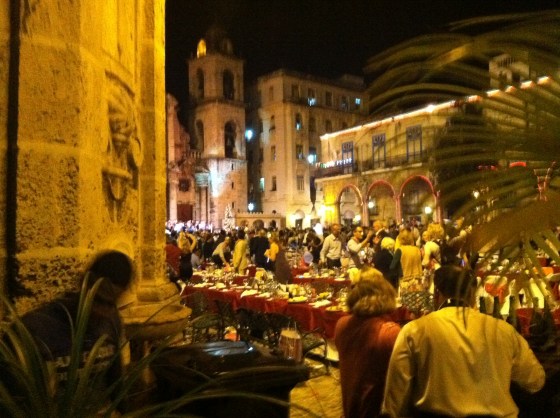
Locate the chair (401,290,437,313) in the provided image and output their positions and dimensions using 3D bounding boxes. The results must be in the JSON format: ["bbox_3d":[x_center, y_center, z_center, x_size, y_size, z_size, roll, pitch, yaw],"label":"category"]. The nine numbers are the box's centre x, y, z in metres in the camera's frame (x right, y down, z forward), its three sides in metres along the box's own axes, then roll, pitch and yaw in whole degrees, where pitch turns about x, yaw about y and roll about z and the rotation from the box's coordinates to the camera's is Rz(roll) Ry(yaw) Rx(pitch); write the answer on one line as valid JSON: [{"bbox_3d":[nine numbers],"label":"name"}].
[{"bbox_3d":[1.693,1.116,5.820,0.238,0.187,0.245,0,-15,-4],"label":"chair"}]
